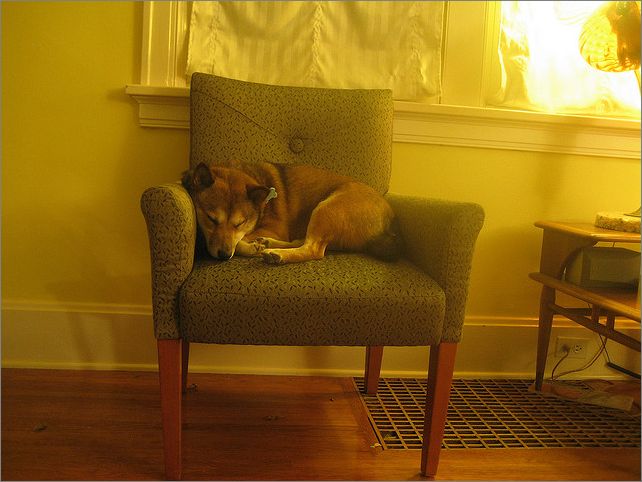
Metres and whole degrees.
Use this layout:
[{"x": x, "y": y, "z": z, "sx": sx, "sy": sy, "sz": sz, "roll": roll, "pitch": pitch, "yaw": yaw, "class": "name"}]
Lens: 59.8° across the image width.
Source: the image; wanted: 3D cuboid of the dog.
[{"x": -0.098, "y": -0.099, "z": 2.146, "sx": 0.598, "sy": 0.261, "sz": 0.447, "roll": -1, "pitch": 29, "yaw": -31, "class": "dog"}]

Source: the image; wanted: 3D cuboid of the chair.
[{"x": -0.042, "y": 0.101, "z": 2.195, "sx": 1.185, "sy": 1.370, "sz": 0.759, "roll": 3, "pitch": 15, "yaw": -4, "class": "chair"}]
